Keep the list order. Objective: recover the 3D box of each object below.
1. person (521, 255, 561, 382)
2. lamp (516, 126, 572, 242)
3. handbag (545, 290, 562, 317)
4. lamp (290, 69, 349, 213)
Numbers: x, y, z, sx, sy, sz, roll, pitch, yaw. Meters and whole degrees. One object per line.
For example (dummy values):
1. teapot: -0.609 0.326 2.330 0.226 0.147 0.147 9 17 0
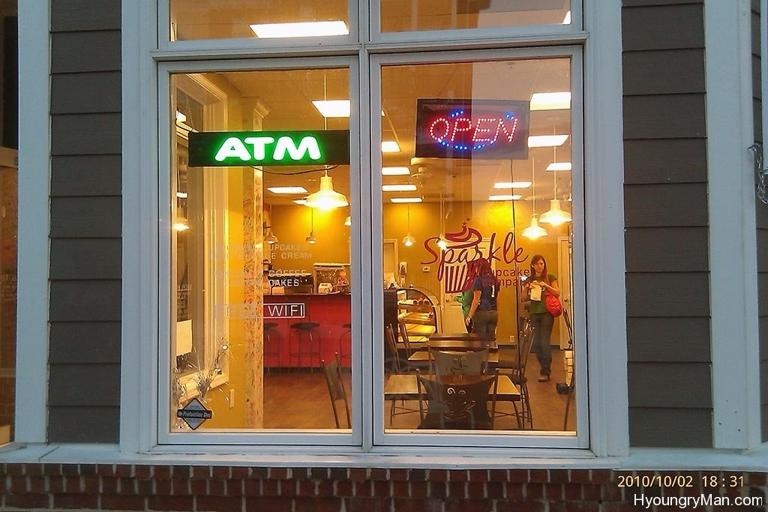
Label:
1. person: 1.036 0.394 6.115 0.080 0.813 0.262 4 -9 -39
2. lamp: 1.052 -0.448 6.135 0.124 0.662 0.413 3 -9 -33
3. handbag: 1.095 0.294 6.079 0.168 0.183 0.106 -3 -3 -2
4. lamp: -0.387 -0.759 6.372 0.336 0.791 0.324 -6 12 -24
